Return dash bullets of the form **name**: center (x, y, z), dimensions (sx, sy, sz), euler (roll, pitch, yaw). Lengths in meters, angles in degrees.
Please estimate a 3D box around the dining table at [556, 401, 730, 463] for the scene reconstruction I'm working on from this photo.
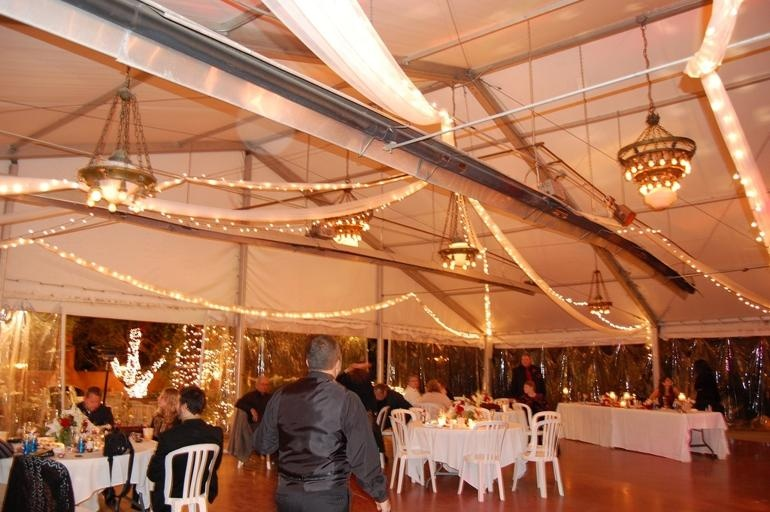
- **dining table**: center (4.922, 3.373, 11.748), dimensions (1.309, 1.103, 3.612), euler (3, -17, -19)

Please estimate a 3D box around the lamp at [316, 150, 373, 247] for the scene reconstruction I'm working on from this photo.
- **lamp**: center (-0.569, -0.927, 9.050), dimensions (0.699, 1.430, 0.678), euler (2, 8, 7)

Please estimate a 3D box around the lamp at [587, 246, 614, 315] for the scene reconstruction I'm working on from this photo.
- **lamp**: center (4.484, 0.392, 12.512), dimensions (0.650, 1.635, 0.614), euler (-4, -2, 33)

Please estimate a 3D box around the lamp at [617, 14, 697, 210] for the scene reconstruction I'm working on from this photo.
- **lamp**: center (3.203, -1.727, 7.102), dimensions (0.897, 2.281, 0.873), euler (5, -10, -34)
